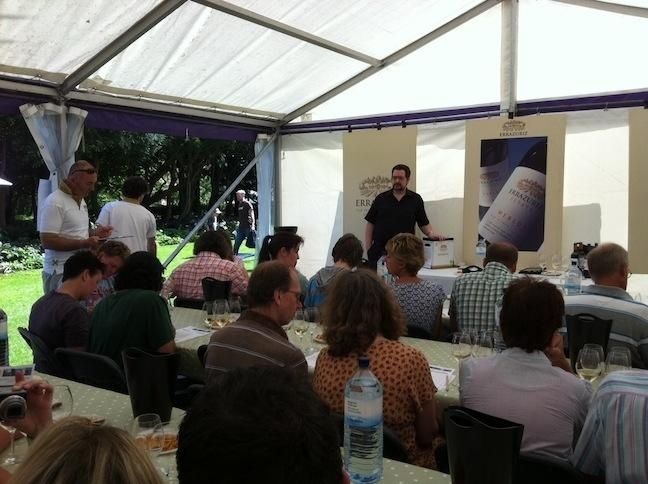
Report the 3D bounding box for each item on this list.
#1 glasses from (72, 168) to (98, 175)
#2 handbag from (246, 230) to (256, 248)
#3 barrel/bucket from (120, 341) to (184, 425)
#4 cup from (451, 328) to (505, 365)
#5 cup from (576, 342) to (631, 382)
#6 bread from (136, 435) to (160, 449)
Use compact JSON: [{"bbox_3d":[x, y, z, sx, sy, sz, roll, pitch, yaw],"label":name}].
[{"bbox_3d":[-2.181,-0.648,4.282,0.193,0.061,0.129,2,1,-39],"label":"glasses"},{"bbox_3d":[-1.417,-0.062,9.122,0.194,0.445,0.258,3,-38,-3],"label":"handbag"},{"bbox_3d":[-0.658,0.559,1.777,0.190,0.284,0.085,3,0,-18],"label":"barrel/bucket"},{"bbox_3d":[0.783,0.544,2.452,0.208,0.162,0.210,3,1,0],"label":"cup"},{"bbox_3d":[1.335,0.583,2.274,0.219,0.177,0.211,3,1,0],"label":"cup"},{"bbox_3d":[-0.569,0.656,1.519,0.069,0.049,0.024,2,0,-33],"label":"bread"}]
